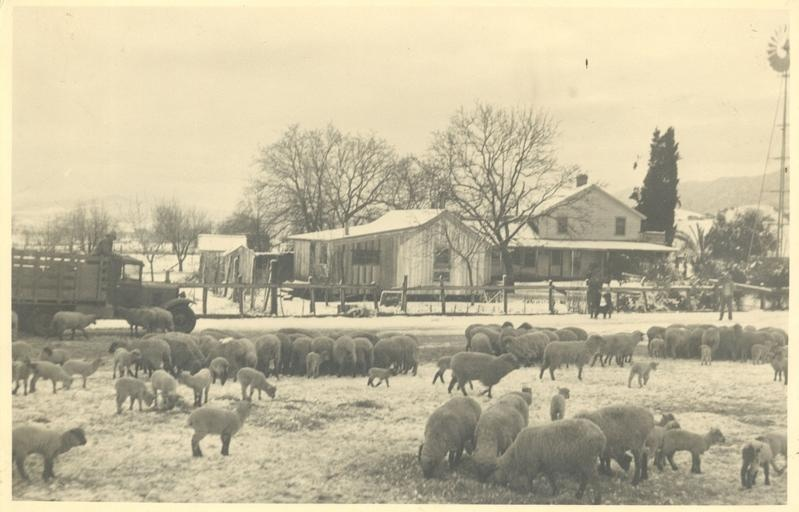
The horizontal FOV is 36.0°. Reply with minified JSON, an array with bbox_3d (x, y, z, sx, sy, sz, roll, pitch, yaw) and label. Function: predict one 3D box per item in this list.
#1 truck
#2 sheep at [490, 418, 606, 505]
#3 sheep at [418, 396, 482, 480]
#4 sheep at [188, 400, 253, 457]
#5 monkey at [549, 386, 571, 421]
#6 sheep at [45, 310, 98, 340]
[{"bbox_3d":[-10.823,0.946,41.675,8.679,3.914,3.545,0,-2,-14],"label":"truck"},{"bbox_3d":[4.655,6.155,37.237,3.108,2.642,1.152,0,-2,8],"label":"sheep"},{"bbox_3d":[1.504,5.398,37.282,1.288,1.698,3.023,-3,13,30],"label":"sheep"},{"bbox_3d":[-5.542,5.435,38.596,1.648,1.815,2.553,1,1,2],"label":"sheep"},{"bbox_3d":[5.010,4.596,38.637,0.512,0.992,0.595,0,-2,7],"label":"monkey"},{"bbox_3d":[-11.048,2.285,41.745,1.449,0.928,0.657,1,-3,-17],"label":"sheep"}]
